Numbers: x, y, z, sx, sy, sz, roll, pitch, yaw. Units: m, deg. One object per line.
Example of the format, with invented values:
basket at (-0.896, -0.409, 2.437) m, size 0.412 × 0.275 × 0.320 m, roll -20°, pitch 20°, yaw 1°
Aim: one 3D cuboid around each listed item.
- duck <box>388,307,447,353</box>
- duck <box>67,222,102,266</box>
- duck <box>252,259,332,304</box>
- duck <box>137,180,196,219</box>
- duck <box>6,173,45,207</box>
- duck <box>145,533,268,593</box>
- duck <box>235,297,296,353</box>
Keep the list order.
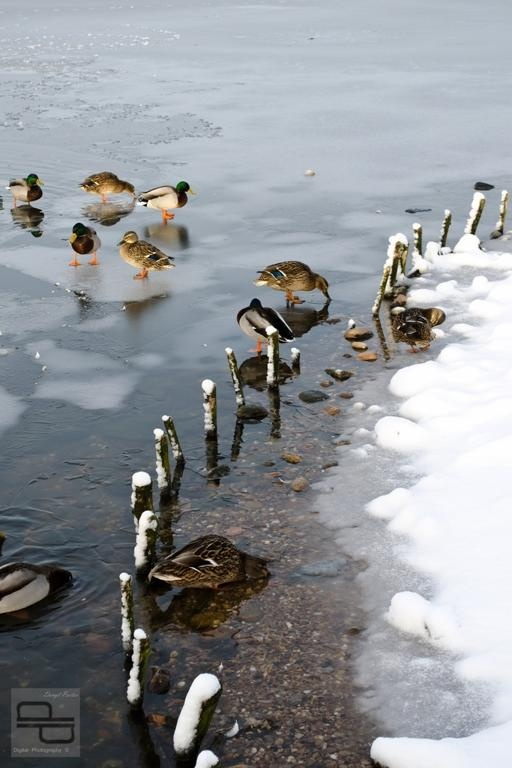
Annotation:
duck at (2.678, -0.863, 13.394) m, size 1.119 × 0.640 × 0.600 m, roll -1°, pitch 37°, yaw -45°
duck at (-3.603, -2.910, 17.071) m, size 0.629 × 0.912 × 0.773 m, roll -5°, pitch 33°, yaw -10°
duck at (0.678, -1.882, 15.026) m, size 1.540 × 0.754 × 0.664 m, roll 6°, pitch 28°, yaw -5°
duck at (-2.307, -4.578, 20.526) m, size 1.038 × 0.934 × 1.162 m, roll 8°, pitch 32°, yaw 11°
duck at (-5.855, -4.929, 20.743) m, size 0.723 × 0.918 × 0.696 m, roll -4°, pitch 34°, yaw -8°
duck at (-0.438, 1.704, 7.846) m, size 1.125 × 0.374 × 0.508 m, roll 4°, pitch 7°, yaw -19°
duck at (0.178, -0.913, 12.834) m, size 0.684 × 0.773 × 1.183 m, roll -17°, pitch 29°, yaw -33°
